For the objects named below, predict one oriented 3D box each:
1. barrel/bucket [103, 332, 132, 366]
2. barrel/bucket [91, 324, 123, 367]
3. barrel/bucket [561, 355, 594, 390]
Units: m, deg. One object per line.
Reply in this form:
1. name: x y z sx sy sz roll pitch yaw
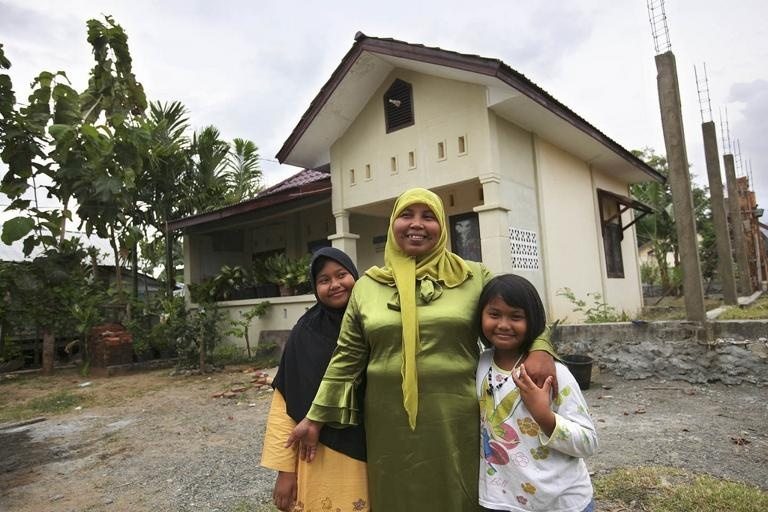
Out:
1. barrel/bucket: -6.498 2.202 12.300 0.607 0.877 0.472 -1 18 -31
2. barrel/bucket: -6.709 2.166 12.195 0.826 0.987 0.622 2 7 43
3. barrel/bucket: 3.241 1.881 8.290 0.482 0.416 0.516 -7 8 1
